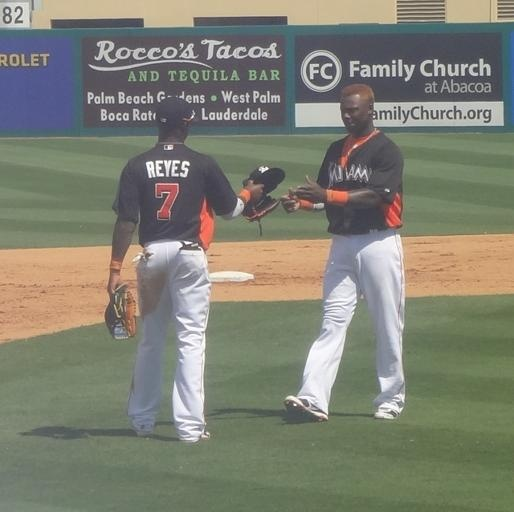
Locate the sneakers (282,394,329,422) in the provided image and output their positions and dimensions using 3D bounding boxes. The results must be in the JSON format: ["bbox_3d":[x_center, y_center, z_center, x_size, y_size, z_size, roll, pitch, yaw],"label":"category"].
[{"bbox_3d":[0.357,1.161,9.446,0.348,0.147,0.147,30,28,-14],"label":"sneakers"}]

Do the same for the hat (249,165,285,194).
[{"bbox_3d":[0.063,-0.633,9.630,0.172,0.106,0.274,12,-40,-42],"label":"hat"}]

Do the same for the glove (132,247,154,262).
[{"bbox_3d":[-0.859,-0.010,9.239,0.109,0.141,0.308,-4,9,-17],"label":"glove"}]

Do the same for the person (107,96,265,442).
[{"bbox_3d":[-0.640,0.092,9.216,0.960,2.490,0.619,-1,9,3],"label":"person"}]

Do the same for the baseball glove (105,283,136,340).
[{"bbox_3d":[-1.002,0.407,9.432,0.236,0.403,0.148,3,18,19],"label":"baseball glove"}]

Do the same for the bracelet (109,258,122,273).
[{"bbox_3d":[-1.077,0.068,9.318,0.095,0.095,0.085,-4,-5,29],"label":"bracelet"}]

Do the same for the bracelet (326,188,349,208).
[{"bbox_3d":[0.599,-0.442,9.427,0.110,0.086,0.144,14,15,-34],"label":"bracelet"}]

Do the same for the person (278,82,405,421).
[{"bbox_3d":[0.709,-0.030,9.503,0.811,2.518,0.696,-1,9,2],"label":"person"}]

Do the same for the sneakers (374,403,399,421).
[{"bbox_3d":[0.981,1.205,9.510,0.189,0.080,0.096,6,-6,-16],"label":"sneakers"}]

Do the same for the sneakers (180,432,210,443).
[{"bbox_3d":[-0.433,1.331,9.155,0.261,0.053,0.123,-7,10,-36],"label":"sneakers"}]
